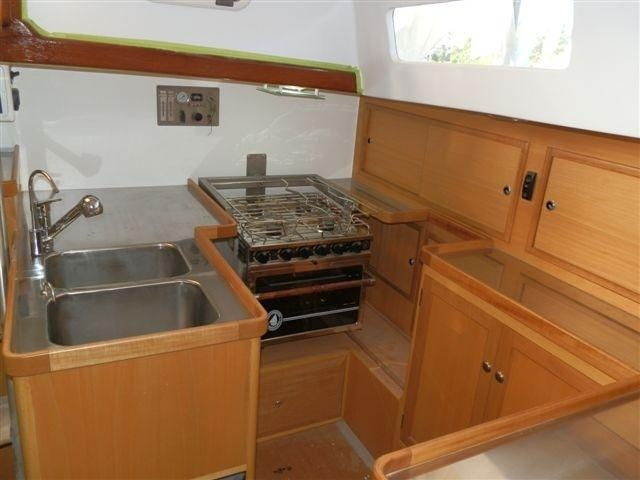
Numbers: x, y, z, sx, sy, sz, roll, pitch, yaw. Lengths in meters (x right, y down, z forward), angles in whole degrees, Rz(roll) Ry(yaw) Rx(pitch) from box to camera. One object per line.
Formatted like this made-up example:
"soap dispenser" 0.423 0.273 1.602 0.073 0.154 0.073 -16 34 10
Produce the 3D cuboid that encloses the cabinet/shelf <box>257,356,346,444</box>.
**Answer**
"cabinet/shelf" -0.171 0.831 2.640 0.573 0.394 0.333 -2 11 -36

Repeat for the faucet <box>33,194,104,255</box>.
"faucet" -1.002 -0.061 1.841 0.306 0.204 0.071 -5 7 5

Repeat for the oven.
"oven" -0.094 0.297 2.571 0.644 0.437 0.473 -8 18 -26

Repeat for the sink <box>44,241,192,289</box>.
"sink" -0.871 0.105 1.953 0.358 0.127 0.259 -4 25 -21

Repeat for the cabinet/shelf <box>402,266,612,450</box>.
"cabinet/shelf" 0.682 0.396 1.641 0.251 0.624 0.609 -16 30 -31
